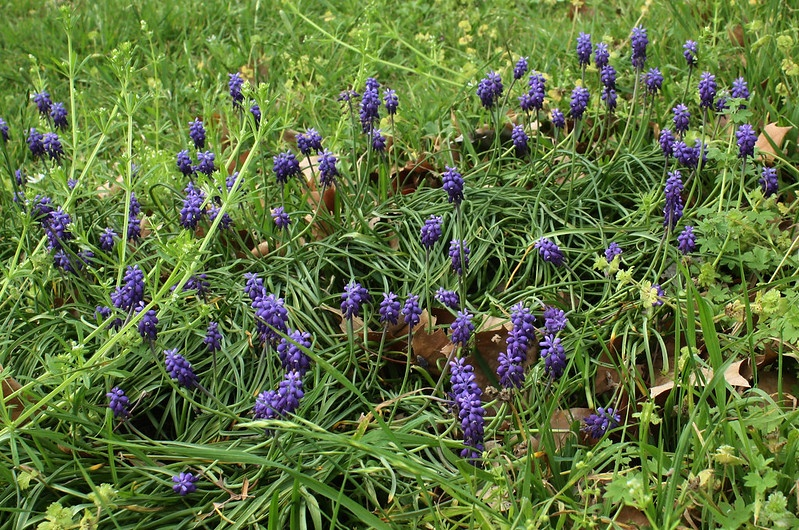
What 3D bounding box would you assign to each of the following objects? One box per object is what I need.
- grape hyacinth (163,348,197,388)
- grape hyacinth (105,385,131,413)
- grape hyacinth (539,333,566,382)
[{"bbox_3d":[-1.039,0.487,3.425,0.185,0.091,0.080,37,47,7],"label":"grape hyacinth"},{"bbox_3d":[-1.327,0.632,3.413,0.061,0.117,0.076,-18,67,-18],"label":"grape hyacinth"},{"bbox_3d":[0.702,0.400,3.316,0.113,0.275,0.241,-3,31,11],"label":"grape hyacinth"}]
